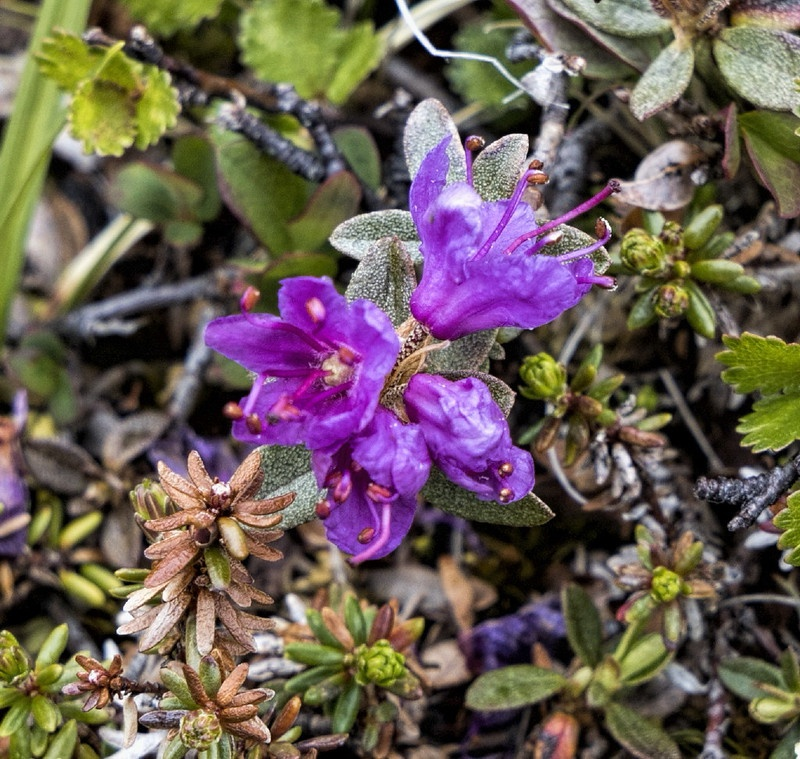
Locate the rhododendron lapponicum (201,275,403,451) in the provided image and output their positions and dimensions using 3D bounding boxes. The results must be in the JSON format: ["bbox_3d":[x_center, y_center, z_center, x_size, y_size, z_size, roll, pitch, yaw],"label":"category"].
[{"bbox_3d":[-0.146,-0.014,1.453,0.288,0.311,0.255,-15,83,-3],"label":"rhododendron lapponicum"}]

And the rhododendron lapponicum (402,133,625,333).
[{"bbox_3d":[0.135,-0.185,1.494,0.292,0.274,0.319,39,104,-2],"label":"rhododendron lapponicum"}]
